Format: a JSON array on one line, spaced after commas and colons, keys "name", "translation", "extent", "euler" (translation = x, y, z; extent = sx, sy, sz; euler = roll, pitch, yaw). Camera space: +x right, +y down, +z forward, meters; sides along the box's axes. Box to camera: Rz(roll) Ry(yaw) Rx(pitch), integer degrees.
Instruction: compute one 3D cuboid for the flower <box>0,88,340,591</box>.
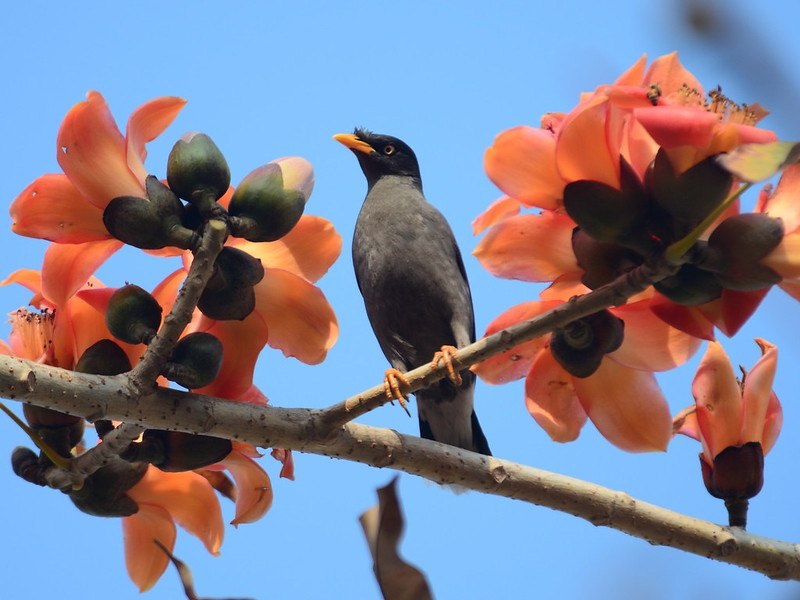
[{"name": "flower", "translation": [-0.728, 0.130, 3.867], "extent": [1.064, 1.169, 0.889], "euler": [27, -36, -27]}]
